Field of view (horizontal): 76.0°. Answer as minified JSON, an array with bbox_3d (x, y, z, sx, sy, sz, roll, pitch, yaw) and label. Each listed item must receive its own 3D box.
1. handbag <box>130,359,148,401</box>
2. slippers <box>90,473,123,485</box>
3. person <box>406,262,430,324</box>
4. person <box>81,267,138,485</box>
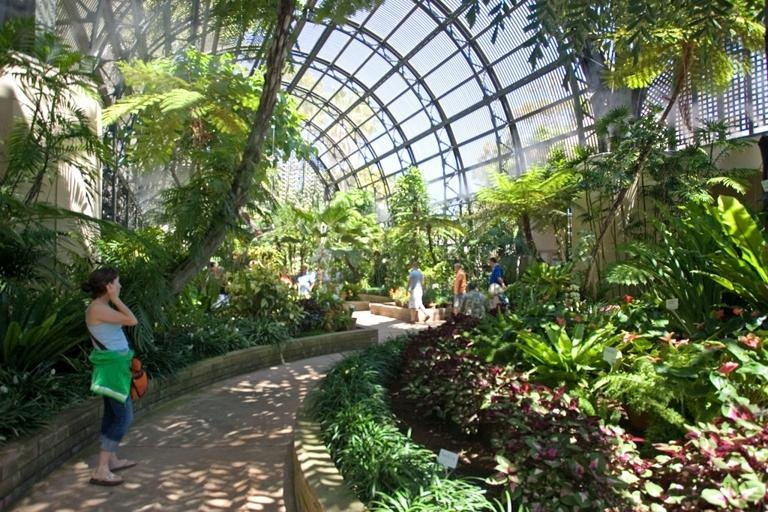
[{"bbox_3d":[-1.896,0.965,3.865,0.099,0.292,0.205,2,-5,-25],"label":"handbag"},{"bbox_3d":[-1.994,1.625,3.544,0.161,0.074,0.093,2,-3,-6],"label":"slippers"},{"bbox_3d":[0.769,0.755,10.536,0.442,1.271,0.602,0,0,6],"label":"person"},{"bbox_3d":[-2.059,0.869,3.713,0.332,1.720,0.469,0,0,-36],"label":"person"}]
